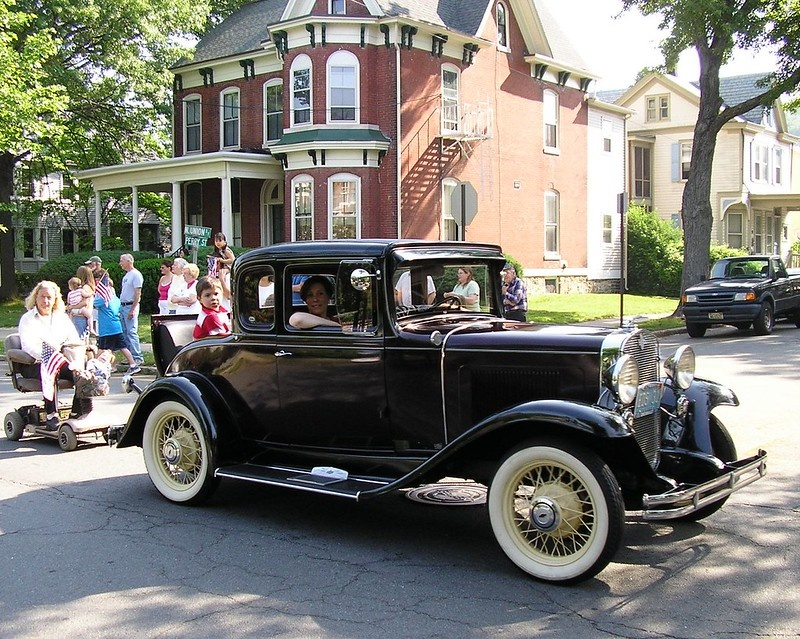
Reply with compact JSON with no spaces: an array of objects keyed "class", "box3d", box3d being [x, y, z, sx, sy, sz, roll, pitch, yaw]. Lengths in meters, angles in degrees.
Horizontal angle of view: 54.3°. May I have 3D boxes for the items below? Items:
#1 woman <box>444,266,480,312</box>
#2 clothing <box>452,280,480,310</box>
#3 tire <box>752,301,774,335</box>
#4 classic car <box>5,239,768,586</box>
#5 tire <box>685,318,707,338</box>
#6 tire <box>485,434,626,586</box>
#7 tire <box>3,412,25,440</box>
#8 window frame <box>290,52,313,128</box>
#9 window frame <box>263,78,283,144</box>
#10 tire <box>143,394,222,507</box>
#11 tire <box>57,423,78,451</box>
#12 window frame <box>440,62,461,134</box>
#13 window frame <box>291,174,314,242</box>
[{"class":"woman","box3d":[0.582,-0.201,7.285,0.327,0.579,0.295,9,-11,-35]},{"class":"clothing","box3d":[0.606,-0.223,7.230,0.244,0.277,0.157,-3,-7,11]},{"class":"tire","box3d":[9.066,-0.048,19.453,0.259,0.766,0.752,-8,0,39]},{"class":"classic car","box3d":[-0.383,0.645,7.466,6.187,2.269,2.365,0,3,32]},{"class":"tire","box3d":[7.575,0.227,19.871,0.176,0.485,0.475,4,4,41]},{"class":"tire","box3d":[1.133,1.348,5.544,0.811,0.894,0.213,-23,-12,29]},{"class":"tire","box3d":[-4.790,1.331,9.716,0.292,0.305,0.104,-15,1,40]},{"class":"window frame","box3d":[-3.369,-7.812,26.657,0.855,2.258,0.168,4,8,33]},{"class":"window frame","box3d":[-4.781,-7.782,29.467,0.888,2.223,0.311,2,8,24]},{"class":"tire","box3d":[-1.999,1.215,7.265,0.843,0.976,0.228,-12,-1,40]},{"class":"tire","box3d":[-3.889,1.379,9.156,0.232,0.269,0.086,-38,-21,32]},{"class":"window frame","box3d":[1.807,-7.693,27.442,0.485,2.349,1.090,3,8,31]},{"class":"window frame","box3d":[-3.282,-3.803,26.649,1.061,2.160,0.368,5,9,41]}]
